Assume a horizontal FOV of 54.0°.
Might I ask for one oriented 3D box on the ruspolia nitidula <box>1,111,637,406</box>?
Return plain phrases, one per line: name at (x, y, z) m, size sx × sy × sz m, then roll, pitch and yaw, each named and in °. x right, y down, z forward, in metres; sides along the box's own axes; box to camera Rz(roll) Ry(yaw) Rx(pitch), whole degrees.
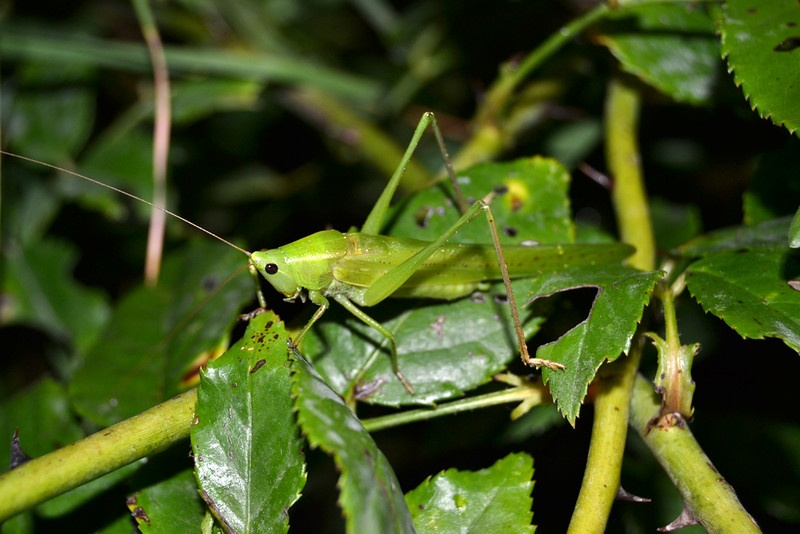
ruspolia nitidula at (0.026, -0.056, 3.190) m, size 1.523 × 0.865 × 0.925 m, roll -14°, pitch 18°, yaw 15°
